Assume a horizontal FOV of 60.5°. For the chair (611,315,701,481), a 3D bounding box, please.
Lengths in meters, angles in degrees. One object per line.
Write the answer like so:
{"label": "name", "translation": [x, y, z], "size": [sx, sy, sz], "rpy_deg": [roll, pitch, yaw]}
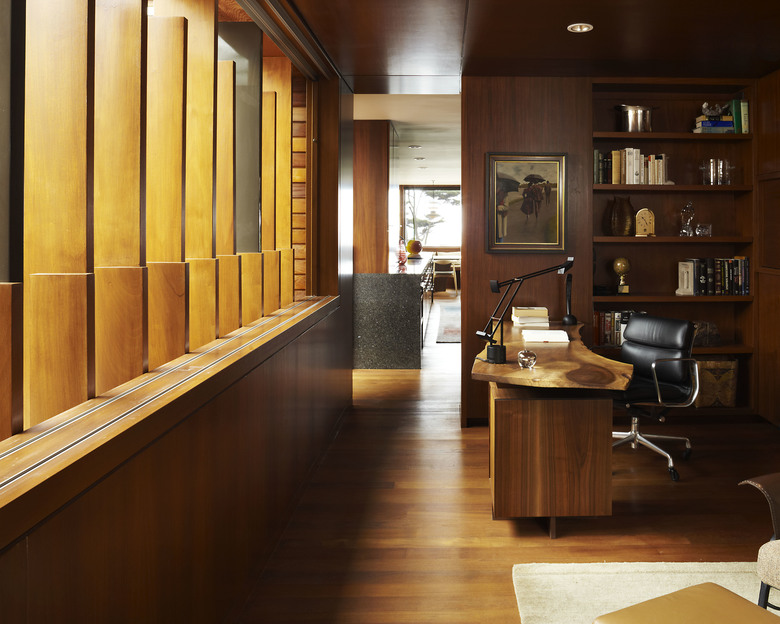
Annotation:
{"label": "chair", "translation": [1.545, 0.505, 4.232], "size": [0.655, 0.899, 0.662], "rpy_deg": [-4, 4, -35]}

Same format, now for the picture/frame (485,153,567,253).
{"label": "picture/frame", "translation": [1.023, -0.830, 4.929], "size": [0.771, 0.879, 0.052], "rpy_deg": [0, 4, 5]}

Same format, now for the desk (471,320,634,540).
{"label": "desk", "translation": [0.775, 0.286, 3.409], "size": [0.732, 0.743, 1.574], "rpy_deg": [0, 3, 7]}

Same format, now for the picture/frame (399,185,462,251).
{"label": "picture/frame", "translation": [1.042, -2.516, 18.156], "size": [1.717, 1.772, 0.918], "rpy_deg": [-6, 9, -31]}

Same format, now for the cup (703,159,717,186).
{"label": "cup", "translation": [2.373, -1.024, 4.947], "size": [0.099, 0.191, 0.103], "rpy_deg": [-1, 8, 0]}

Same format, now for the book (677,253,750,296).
{"label": "book", "translation": [2.442, -0.263, 5.055], "size": [0.518, 0.281, 0.157], "rpy_deg": [-1, 8, -1]}
